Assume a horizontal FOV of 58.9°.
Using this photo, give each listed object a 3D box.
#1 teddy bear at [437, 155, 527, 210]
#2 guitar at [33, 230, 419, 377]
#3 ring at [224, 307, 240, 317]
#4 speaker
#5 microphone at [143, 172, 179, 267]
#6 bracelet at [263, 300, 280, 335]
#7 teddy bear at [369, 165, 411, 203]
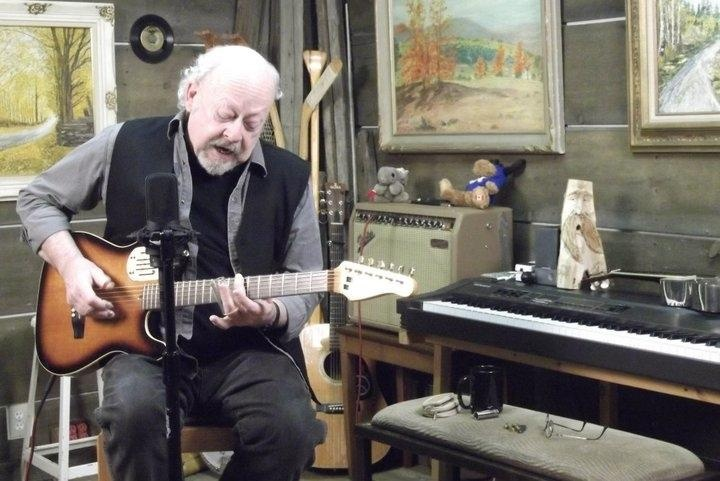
[{"bbox_3d":[0.680,-0.338,3.461,0.317,0.211,0.493,7,38,47],"label":"teddy bear"},{"bbox_3d":[-0.666,0.274,2.557,1.432,0.586,0.224,1,7,14],"label":"guitar"},{"bbox_3d":[-0.484,0.271,2.391,0.036,0.008,0.036,-19,-3,-1],"label":"ring"},{"bbox_3d":[0.370,0.030,3.650,0.651,0.938,1.114,-3,4,-41],"label":"speaker"},{"bbox_3d":[-0.599,-0.060,1.933,0.097,0.284,0.057,-2,7,-17],"label":"microphone"},{"bbox_3d":[-0.352,0.318,2.586,0.064,0.154,0.162,-1,7,-9],"label":"bracelet"},{"bbox_3d":[0.175,-0.317,3.729,0.208,0.216,0.235,-3,0,8],"label":"teddy bear"}]
